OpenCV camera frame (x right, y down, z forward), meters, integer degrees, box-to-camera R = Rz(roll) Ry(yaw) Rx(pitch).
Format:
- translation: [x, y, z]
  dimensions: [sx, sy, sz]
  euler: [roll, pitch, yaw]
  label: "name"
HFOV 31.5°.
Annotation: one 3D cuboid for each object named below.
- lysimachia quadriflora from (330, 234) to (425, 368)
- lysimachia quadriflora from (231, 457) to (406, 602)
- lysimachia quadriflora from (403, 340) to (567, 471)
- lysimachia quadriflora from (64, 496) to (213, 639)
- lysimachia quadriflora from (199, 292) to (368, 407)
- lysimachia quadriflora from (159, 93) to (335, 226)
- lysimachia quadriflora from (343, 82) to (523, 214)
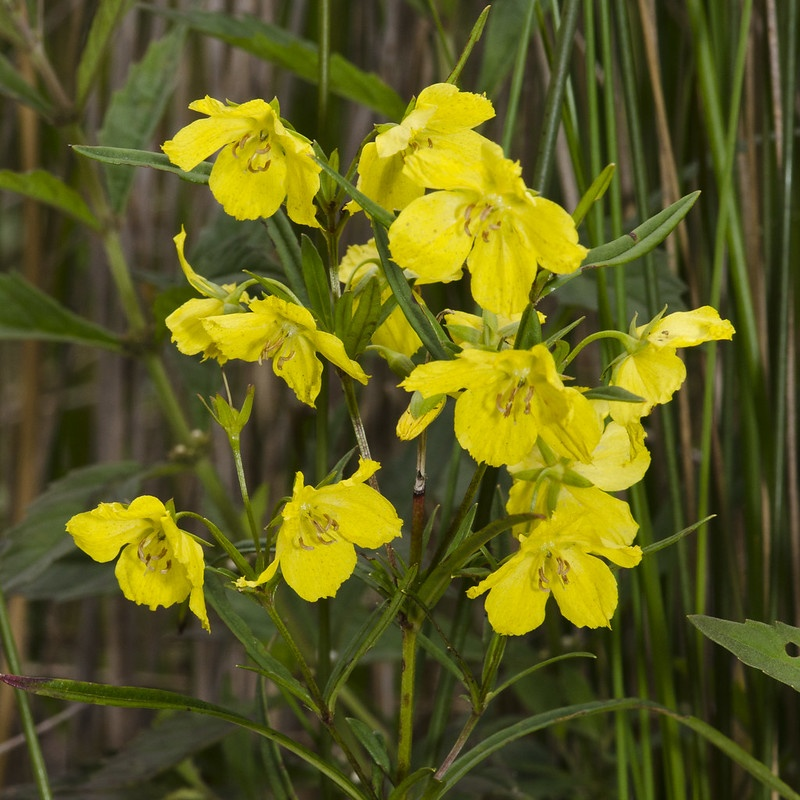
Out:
- translation: [-0.022, -0.101, 1.505]
  dimensions: [0.084, 0.130, 0.036]
  euler: [6, 20, 45]
  label: "lysimachia quadriflora"
- translation: [-0.095, 0.099, 1.384]
  dimensions: [0.124, 0.065, 0.126]
  euler: [12, 2, 40]
  label: "lysimachia quadriflora"
- translation: [0.112, -0.013, 1.378]
  dimensions: [0.130, 0.070, 0.138]
  euler: [-12, 13, -15]
  label: "lysimachia quadriflora"
- translation: [-0.251, 0.157, 1.451]
  dimensions: [0.151, 0.131, 0.116]
  euler: [7, -2, 10]
  label: "lysimachia quadriflora"
- translation: [-0.114, -0.047, 1.423]
  dimensions: [0.167, 0.102, 0.125]
  euler: [8, -2, -4]
  label: "lysimachia quadriflora"
- translation: [-0.151, -0.243, 1.412]
  dimensions: [0.132, 0.133, 0.056]
  euler: [32, 37, -17]
  label: "lysimachia quadriflora"
- translation: [0.024, -0.257, 1.411]
  dimensions: [0.129, 0.139, 0.055]
  euler: [-23, 50, -30]
  label: "lysimachia quadriflora"
